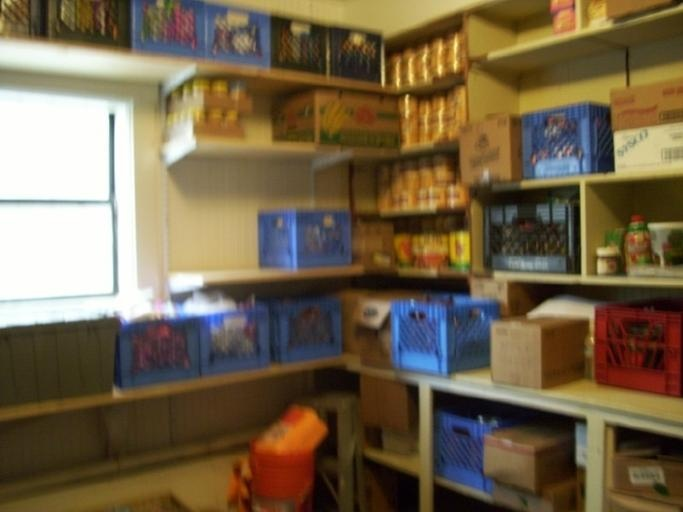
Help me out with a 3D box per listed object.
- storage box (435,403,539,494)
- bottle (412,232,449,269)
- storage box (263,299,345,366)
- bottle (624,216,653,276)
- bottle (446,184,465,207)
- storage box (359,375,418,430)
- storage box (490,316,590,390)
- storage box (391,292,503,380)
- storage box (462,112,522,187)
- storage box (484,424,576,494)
[{"bbox_3d":[0.537,0.739,2.360,0.261,0.209,0.270,2,1,32],"label":"storage box"},{"bbox_3d":[0.374,-0.025,2.569,0.171,0.184,0.134,1,2,6],"label":"bottle"},{"bbox_3d":[-0.158,0.271,2.264,0.208,0.301,0.385,-4,-4,38],"label":"storage box"},{"bbox_3d":[1.052,-0.043,2.117,0.080,0.197,0.135,-1,6,22],"label":"bottle"},{"bbox_3d":[0.485,-0.252,2.522,0.083,0.104,0.087,-1,0,9],"label":"bottle"},{"bbox_3d":[0.203,0.613,2.507,0.240,0.239,0.134,3,7,34],"label":"storage box"},{"bbox_3d":[0.696,0.330,2.168,0.322,0.241,0.214,1,2,-36],"label":"storage box"},{"bbox_3d":[0.419,0.291,2.387,0.320,0.257,0.327,-3,3,-39],"label":"storage box"},{"bbox_3d":[0.602,-0.413,2.361,0.134,0.280,0.280,-2,0,-38],"label":"storage box"},{"bbox_3d":[0.644,0.647,2.074,0.259,0.133,0.186,-3,3,-43],"label":"storage box"}]
